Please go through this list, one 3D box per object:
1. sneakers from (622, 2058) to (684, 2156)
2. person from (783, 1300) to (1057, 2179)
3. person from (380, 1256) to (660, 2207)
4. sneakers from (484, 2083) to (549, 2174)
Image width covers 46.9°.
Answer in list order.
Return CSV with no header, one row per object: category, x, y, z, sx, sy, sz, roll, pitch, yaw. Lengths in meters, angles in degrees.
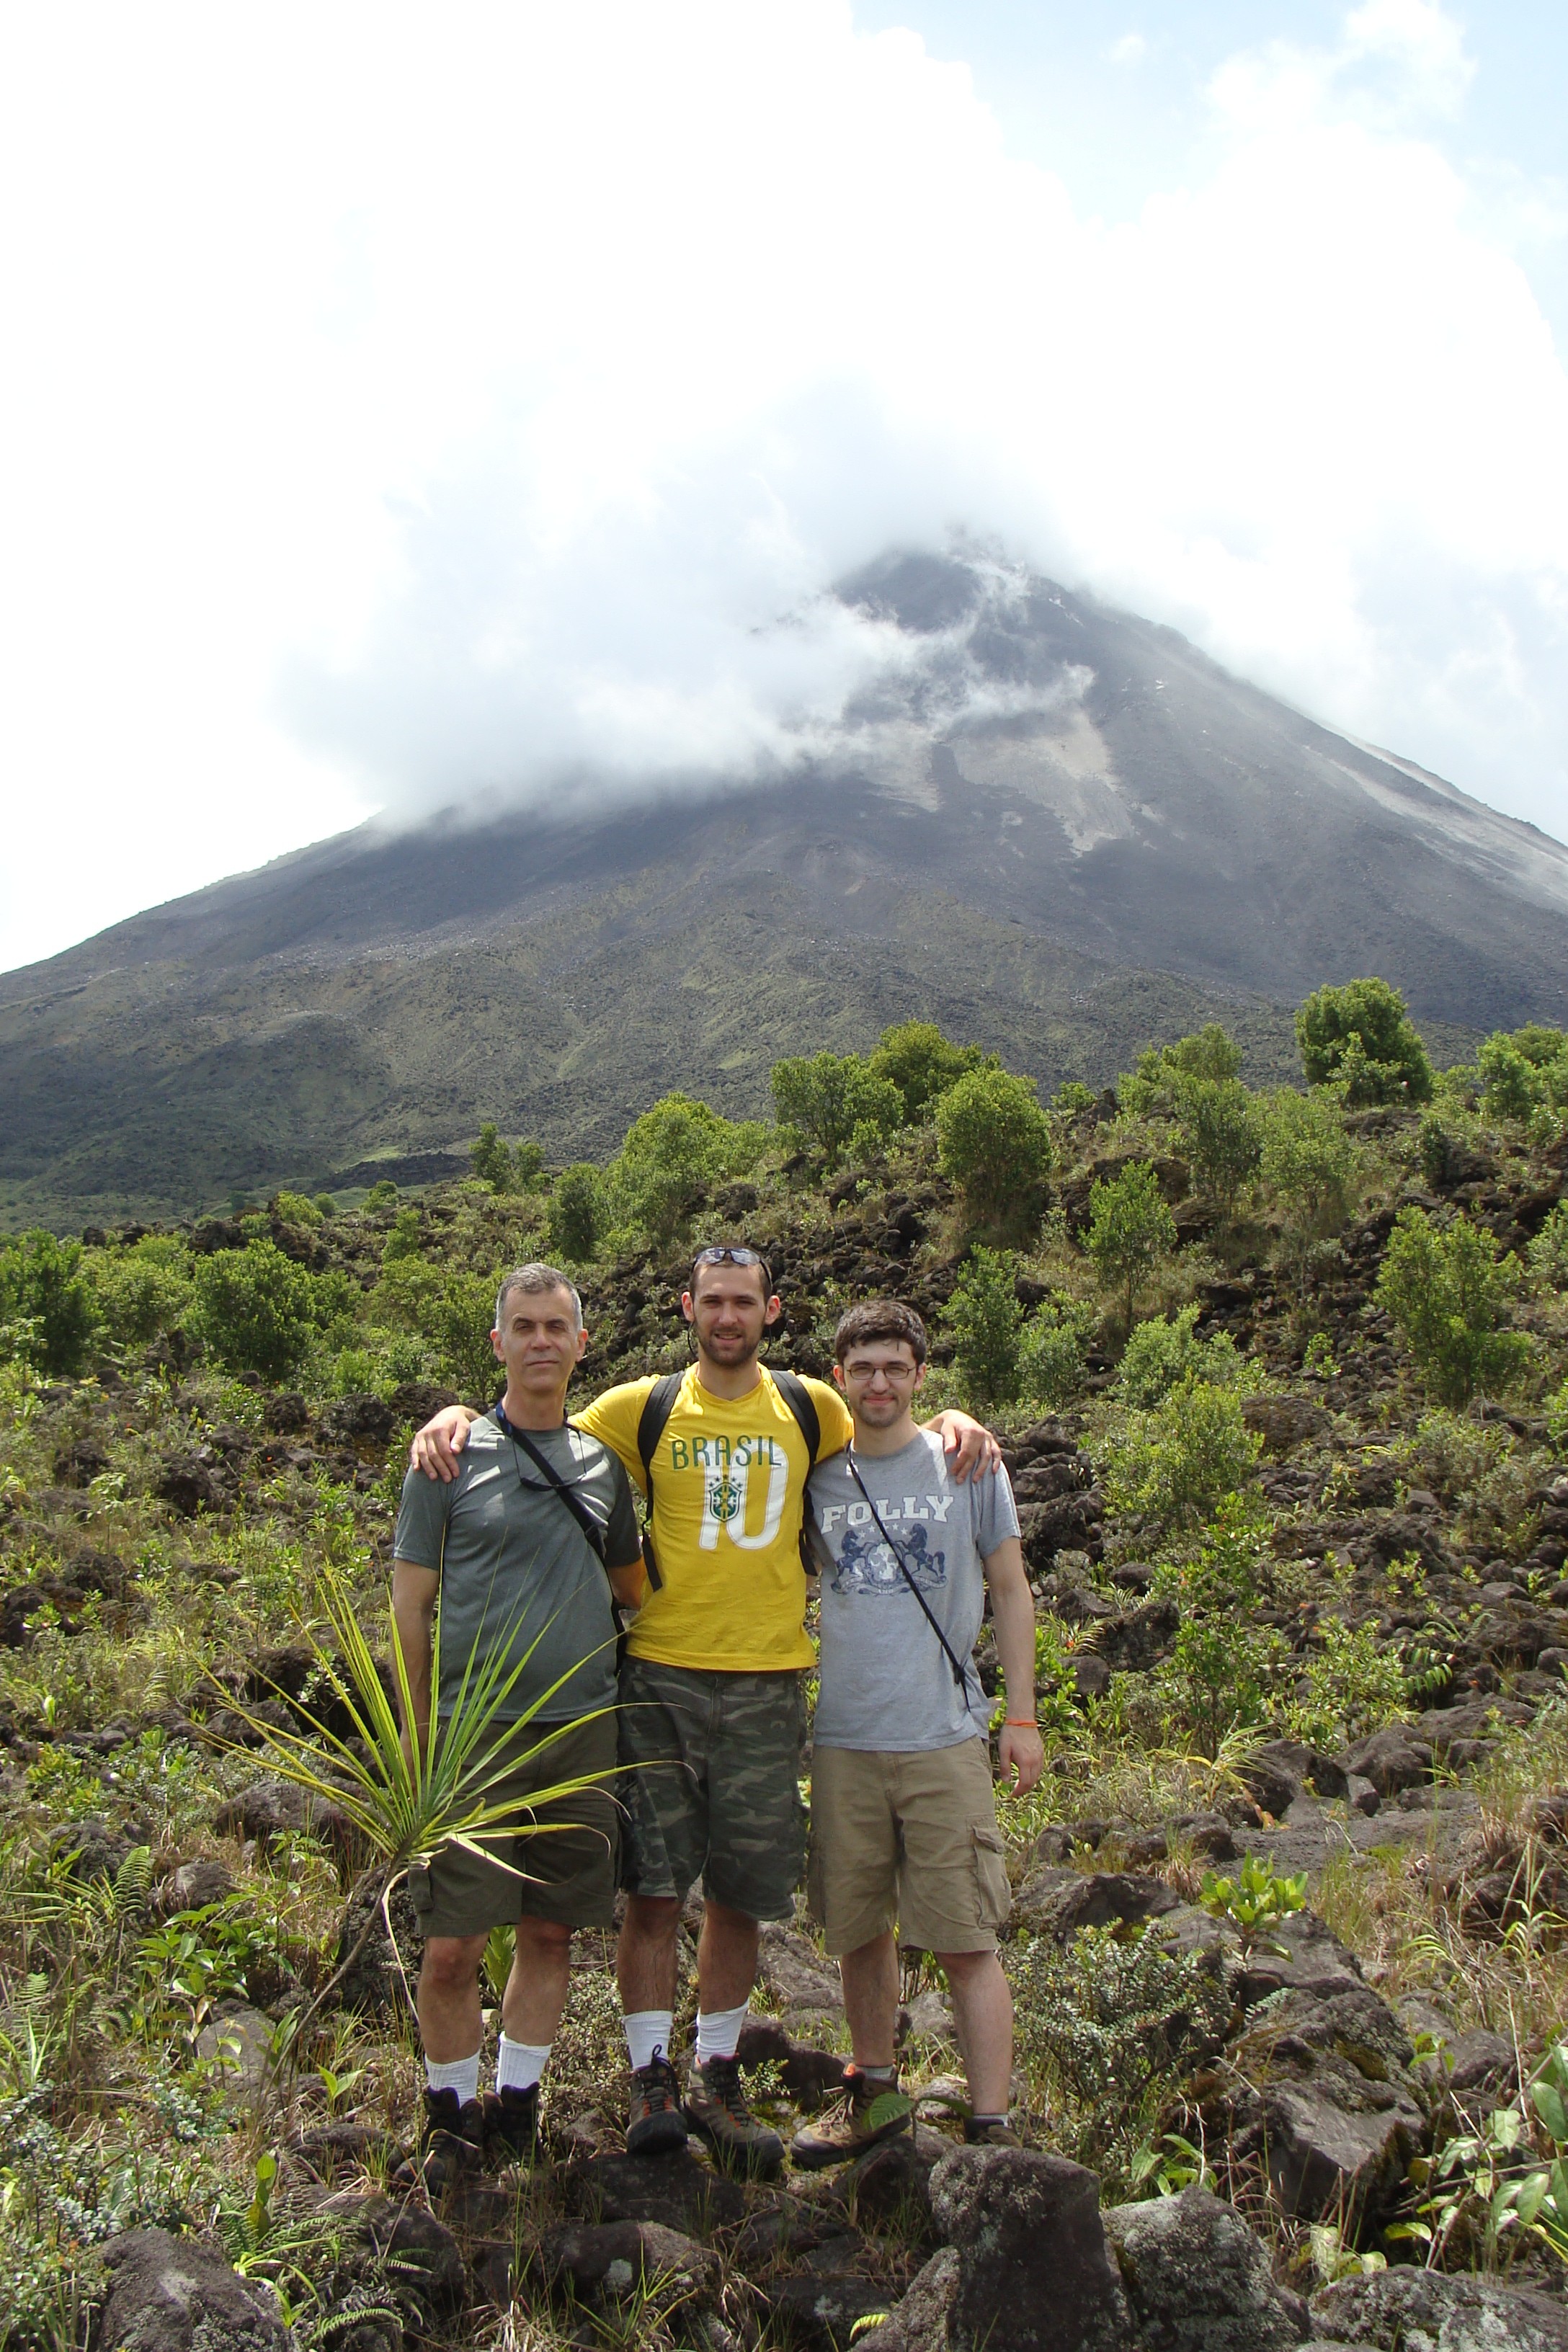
sneakers,-0.281,2.058,3.979,0.122,0.149,0.202,1,5,-5
person,0.289,1.333,4.272,0.470,1.985,0.945,1,5,1
person,-0.632,1.236,4.145,0.569,1.952,0.840,1,5,-4
sneakers,-0.592,2.082,3.945,0.075,0.153,0.154,2,-28,3
